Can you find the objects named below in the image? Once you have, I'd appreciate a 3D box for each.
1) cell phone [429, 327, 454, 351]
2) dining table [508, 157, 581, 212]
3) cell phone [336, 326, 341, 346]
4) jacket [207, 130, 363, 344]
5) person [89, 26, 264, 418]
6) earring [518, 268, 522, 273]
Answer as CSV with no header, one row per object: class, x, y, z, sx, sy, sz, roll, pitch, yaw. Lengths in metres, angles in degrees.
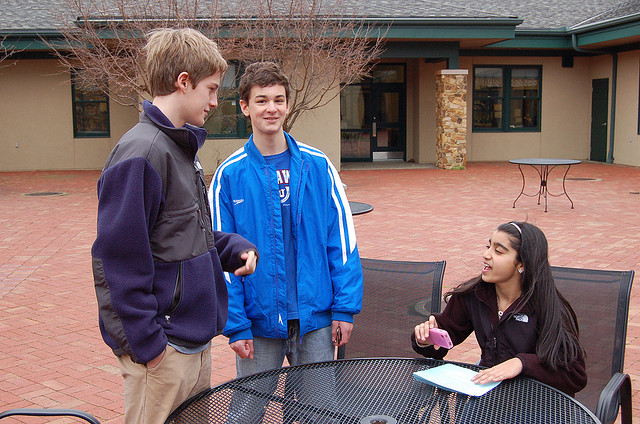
cell phone,0.647,0.678,2.438,0.037,0.092,0.173,-23,6,-22
dining table,5.860,-0.692,11.857,1.666,0.954,1.556,-8,13,-26
cell phone,0.104,0.691,2.545,0.019,0.071,0.040,6,-3,-8
jacket,-0.241,0.318,2.712,0.749,1.572,0.526,-5,8,-25
person,-0.669,0.050,2.018,0.654,1.690,0.275,-15,15,-40
earring,1.072,0.316,2.436,0.019,0.019,0.007,-2,12,12
